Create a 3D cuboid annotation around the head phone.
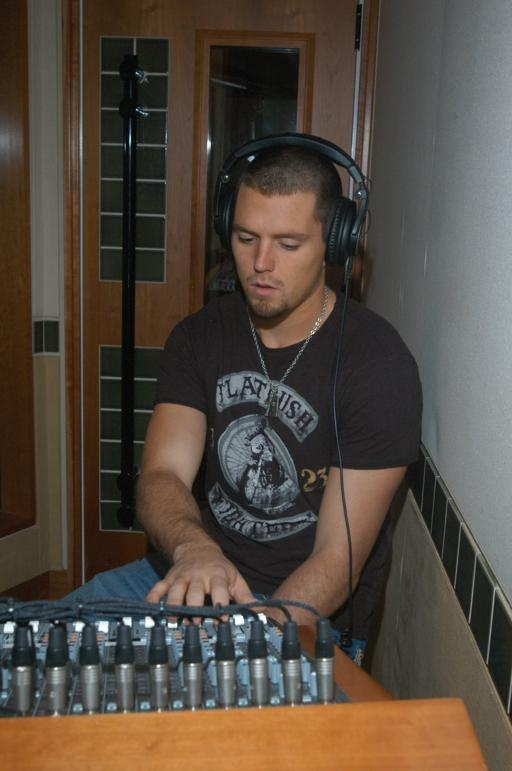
[{"bbox_3d":[0.063,-0.379,1.260,0.325,0.258,0.181,5,13,10],"label":"head phone"}]
